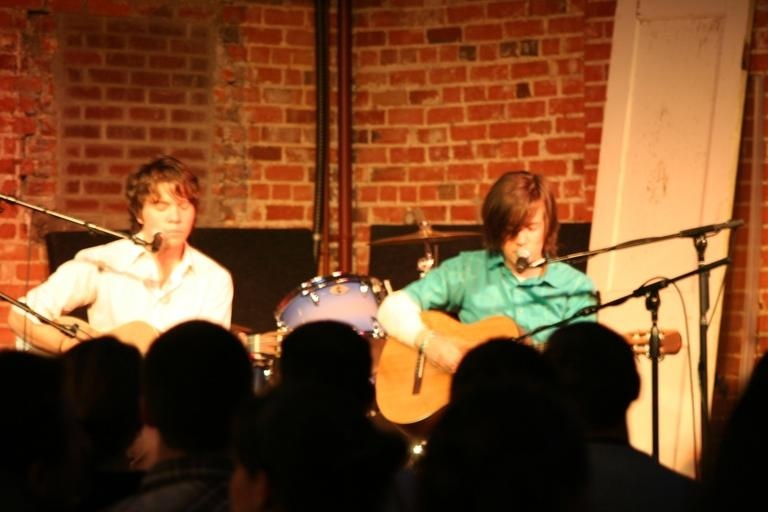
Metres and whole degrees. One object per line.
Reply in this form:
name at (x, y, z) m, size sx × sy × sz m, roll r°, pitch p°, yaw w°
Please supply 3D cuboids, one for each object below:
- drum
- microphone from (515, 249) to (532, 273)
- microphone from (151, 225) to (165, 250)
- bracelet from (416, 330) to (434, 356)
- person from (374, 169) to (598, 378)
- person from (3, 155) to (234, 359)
drum at (-0.255, 0.350, 3.668) m, size 0.568 × 0.396 × 0.540 m, roll -1°, pitch 11°, yaw 0°
microphone at (0.609, 0.016, 3.159) m, size 0.071 × 0.049 × 0.120 m, roll 1°, pitch 35°, yaw 11°
microphone at (-1.042, -0.084, 3.299) m, size 0.072 × 0.104 × 0.030 m, roll 3°, pitch 12°, yaw -8°
bracelet at (0.199, 0.398, 3.338) m, size 0.085 × 0.099 × 0.028 m, roll 10°, pitch -10°, yaw 3°
person at (0.750, 0.044, 3.701) m, size 0.899 × 1.063 × 0.735 m, roll -16°, pitch -13°, yaw 21°
person at (-1.375, 0.018, 3.611) m, size 0.953 × 0.822 × 0.629 m, roll 15°, pitch 4°, yaw -18°
